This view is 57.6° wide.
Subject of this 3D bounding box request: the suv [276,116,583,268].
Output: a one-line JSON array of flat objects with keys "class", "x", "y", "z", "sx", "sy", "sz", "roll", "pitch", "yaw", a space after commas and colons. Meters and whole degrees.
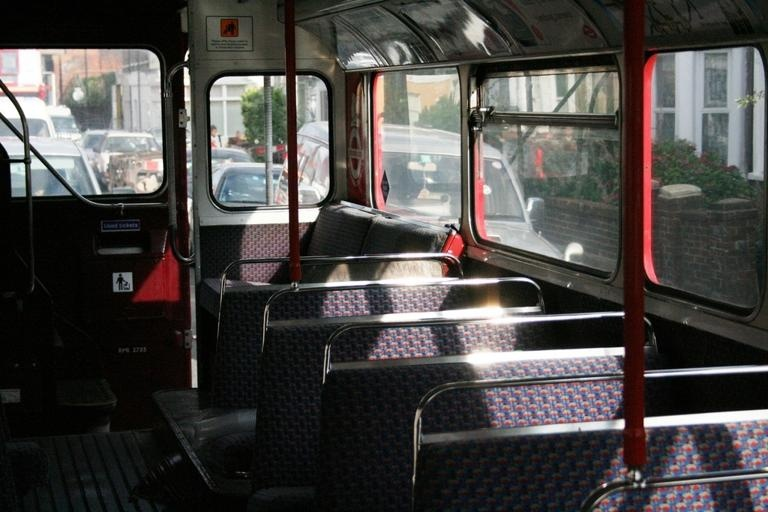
[{"class": "suv", "x": 0.354, "y": -0.655, "z": 6.406, "sx": 1.118, "sy": 1.177, "sz": 2.806, "roll": -8, "pitch": 14, "yaw": -35}]
